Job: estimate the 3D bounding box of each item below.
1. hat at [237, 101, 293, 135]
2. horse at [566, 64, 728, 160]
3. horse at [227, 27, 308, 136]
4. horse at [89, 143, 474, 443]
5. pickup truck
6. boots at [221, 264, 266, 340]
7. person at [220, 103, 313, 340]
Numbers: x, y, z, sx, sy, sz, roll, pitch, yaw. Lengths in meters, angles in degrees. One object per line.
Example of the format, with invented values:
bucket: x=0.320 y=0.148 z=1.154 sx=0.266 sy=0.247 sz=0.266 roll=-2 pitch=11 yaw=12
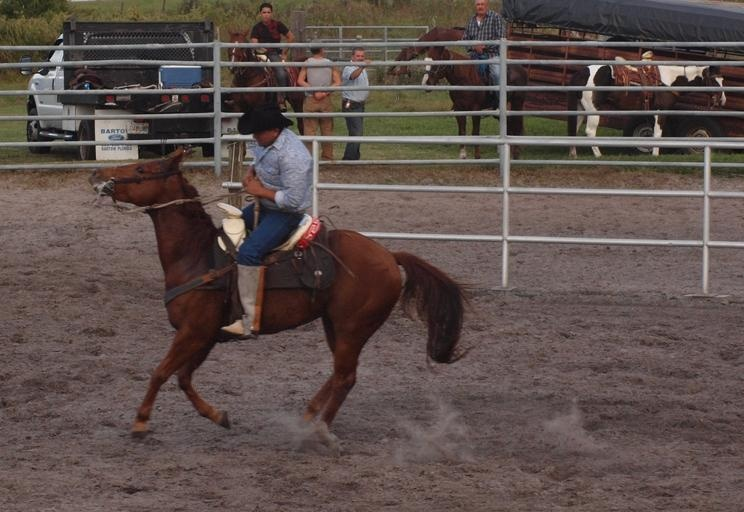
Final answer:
hat: x=-0.982 y=-1.225 z=10.283 sx=0.395 sy=0.126 sz=0.295 roll=-7 pitch=18 yaw=-29
horse: x=4.645 y=-2.495 z=19.453 sx=3.176 sy=1.497 sz=0.702 roll=-2 pitch=7 yaw=-21
horse: x=-1.853 y=-2.773 z=19.042 sx=0.864 sy=1.626 sz=2.615 roll=7 pitch=10 yaw=14
horse: x=-0.934 y=0.474 z=11.383 sx=3.939 sy=2.216 sz=1.162 roll=3 pitch=8 yaw=-7
pickup truck: x=-4.119 y=-2.808 z=18.900 sx=3.151 sy=1.797 sz=3.892 roll=-2 pitch=8 yaw=-21
boots: x=-1.157 y=0.413 z=10.343 sx=0.371 sy=0.668 sz=0.234 roll=1 pitch=22 yaw=-3
person: x=-1.090 y=-0.356 z=10.633 sx=1.088 sy=2.048 sz=0.992 roll=-1 pitch=6 yaw=-28
